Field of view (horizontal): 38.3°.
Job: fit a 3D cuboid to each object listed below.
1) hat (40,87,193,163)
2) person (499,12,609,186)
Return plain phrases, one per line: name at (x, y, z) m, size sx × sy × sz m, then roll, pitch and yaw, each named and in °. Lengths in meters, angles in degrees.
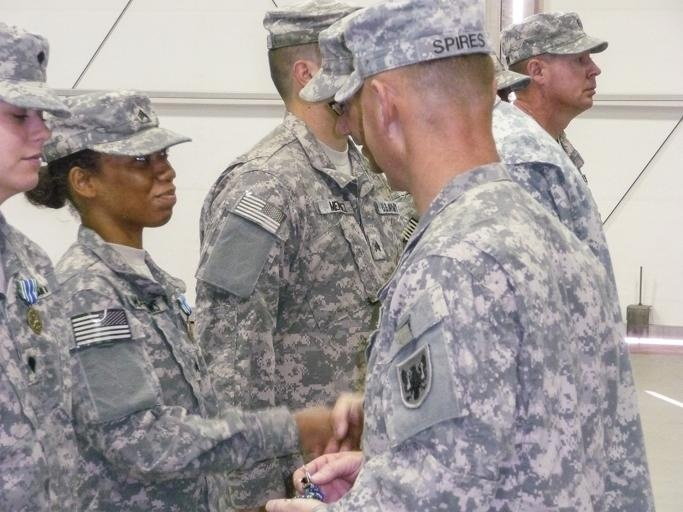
hat at (-0.823, -0.470, 3.518) m, size 0.392 × 0.152 × 0.270 m, roll 1°, pitch 6°, yaw -6°
person at (0.965, -0.749, 4.416) m, size 0.485 × 0.708 × 0.436 m, roll 1°, pitch 9°, yaw 22°
